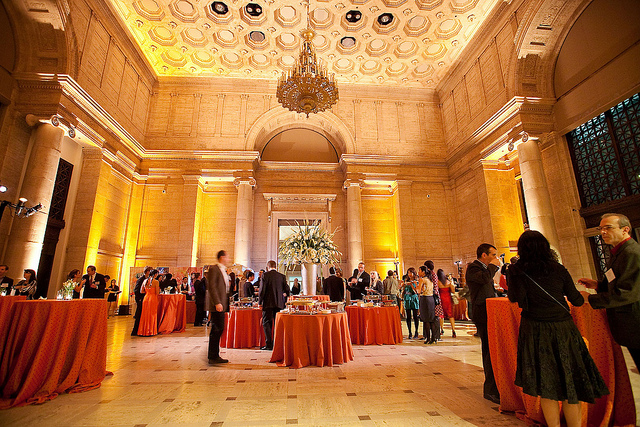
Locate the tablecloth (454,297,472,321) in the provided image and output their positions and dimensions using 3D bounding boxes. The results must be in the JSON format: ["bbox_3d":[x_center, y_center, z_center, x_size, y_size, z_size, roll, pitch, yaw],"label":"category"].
[{"bbox_3d":[4.671,3.212,11.774,0.412,0.801,0.719,0,0,21],"label":"tablecloth"}]

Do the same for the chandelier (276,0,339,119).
[{"bbox_3d":[-0.353,-4.392,11.112,1.763,3.345,2.203,0,0,1],"label":"chandelier"}]

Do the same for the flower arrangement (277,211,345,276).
[{"bbox_3d":[-0.304,0.689,7.859,1.170,1.235,1.091,-10,14,-4],"label":"flower arrangement"}]

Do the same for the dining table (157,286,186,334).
[{"bbox_3d":[-4.211,2.832,10.115,1.079,0.983,1.026,3,-15,-17],"label":"dining table"}]

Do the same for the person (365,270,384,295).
[{"bbox_3d":[1.523,1.938,9.670,0.431,0.654,0.740,0,0,10],"label":"person"}]

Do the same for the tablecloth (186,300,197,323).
[{"bbox_3d":[-4.169,3.216,11.599,0.344,0.713,0.205,0,0,7],"label":"tablecloth"}]

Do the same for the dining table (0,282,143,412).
[{"bbox_3d":[-4.305,2.362,6.166,1.829,1.309,1.813,0,-14,-2],"label":"dining table"}]

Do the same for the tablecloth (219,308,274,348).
[{"bbox_3d":[-1.745,2.779,8.657,1.239,0.729,1.115,9,-14,-40],"label":"tablecloth"}]

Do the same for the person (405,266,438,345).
[{"bbox_3d":[2.597,2.211,8.581,0.487,1.873,0.368,0,0,4],"label":"person"}]

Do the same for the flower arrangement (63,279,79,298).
[{"bbox_3d":[-4.336,1.316,6.187,0.131,0.281,0.272,0,0,-27],"label":"flower arrangement"}]

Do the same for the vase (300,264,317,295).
[{"bbox_3d":[-0.220,1.402,7.583,0.334,0.631,0.205,0,0,-3],"label":"vase"}]

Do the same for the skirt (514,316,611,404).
[{"bbox_3d":[3.249,1.916,5.058,0.833,1.149,1.125,-6,-4,-36],"label":"skirt"}]

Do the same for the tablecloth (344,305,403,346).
[{"bbox_3d":[1.336,2.684,8.767,1.074,0.631,1.021,-1,-12,3],"label":"tablecloth"}]
